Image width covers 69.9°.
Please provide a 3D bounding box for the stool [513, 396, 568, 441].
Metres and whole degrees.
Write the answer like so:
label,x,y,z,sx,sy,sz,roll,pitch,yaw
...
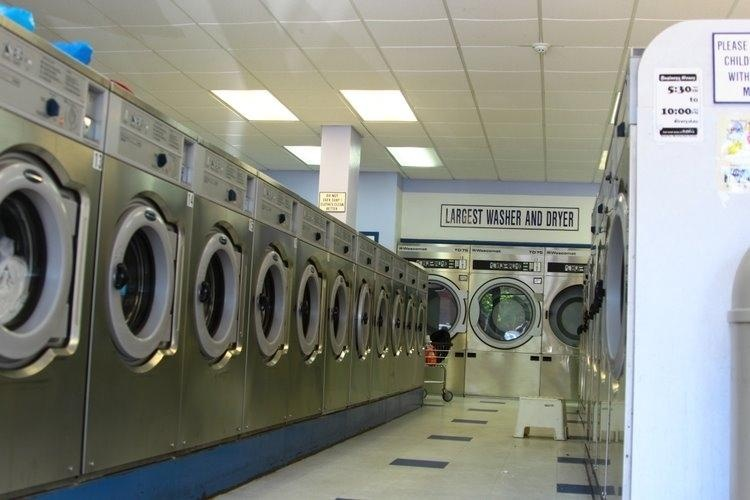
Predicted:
label,x,y,z,sx,sy,sz,roll,pitch,yaw
stool,1.814,1.839,5.954,0.546,0.442,0.510,-3,-8,18
